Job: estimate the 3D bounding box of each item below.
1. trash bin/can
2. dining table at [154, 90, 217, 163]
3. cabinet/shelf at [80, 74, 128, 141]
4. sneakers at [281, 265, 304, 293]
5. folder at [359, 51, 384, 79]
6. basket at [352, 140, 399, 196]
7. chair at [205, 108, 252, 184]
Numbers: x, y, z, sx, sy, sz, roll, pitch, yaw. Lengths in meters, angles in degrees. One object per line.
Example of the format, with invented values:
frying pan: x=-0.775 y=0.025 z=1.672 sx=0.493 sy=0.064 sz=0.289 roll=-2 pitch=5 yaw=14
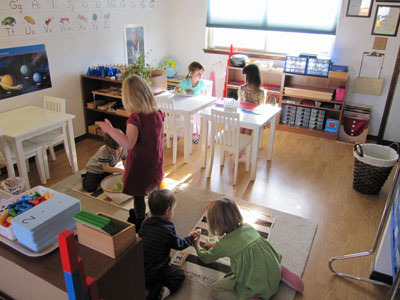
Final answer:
trash bin/can: x=2.257 y=0.216 z=3.891 sx=0.484 sy=0.603 sz=0.534 roll=19 pitch=29 yaw=33
dining table: x=-0.325 y=-0.465 z=4.674 sx=0.985 sy=0.953 sz=0.997 roll=13 pitch=35 yaw=21
cabinet/shelf: x=-1.484 y=-0.681 z=4.491 sx=0.943 sy=0.953 sz=0.314 roll=11 pitch=28 yaw=19
sneakers: x=0.774 y=1.120 z=2.631 sx=0.260 sy=0.083 sz=0.135 roll=40 pitch=52 yaw=16
folder: x=2.899 y=-1.446 z=4.981 sx=0.377 sy=0.509 sz=0.053 roll=17 pitch=38 yaw=33
basket: x=2.197 y=0.245 z=3.712 sx=0.450 sy=0.486 sz=0.411 roll=-13 pitch=33 yaw=-15
chair: x=0.402 y=-0.046 z=4.089 sx=0.532 sy=1.155 sz=0.587 roll=17 pitch=43 yaw=25
